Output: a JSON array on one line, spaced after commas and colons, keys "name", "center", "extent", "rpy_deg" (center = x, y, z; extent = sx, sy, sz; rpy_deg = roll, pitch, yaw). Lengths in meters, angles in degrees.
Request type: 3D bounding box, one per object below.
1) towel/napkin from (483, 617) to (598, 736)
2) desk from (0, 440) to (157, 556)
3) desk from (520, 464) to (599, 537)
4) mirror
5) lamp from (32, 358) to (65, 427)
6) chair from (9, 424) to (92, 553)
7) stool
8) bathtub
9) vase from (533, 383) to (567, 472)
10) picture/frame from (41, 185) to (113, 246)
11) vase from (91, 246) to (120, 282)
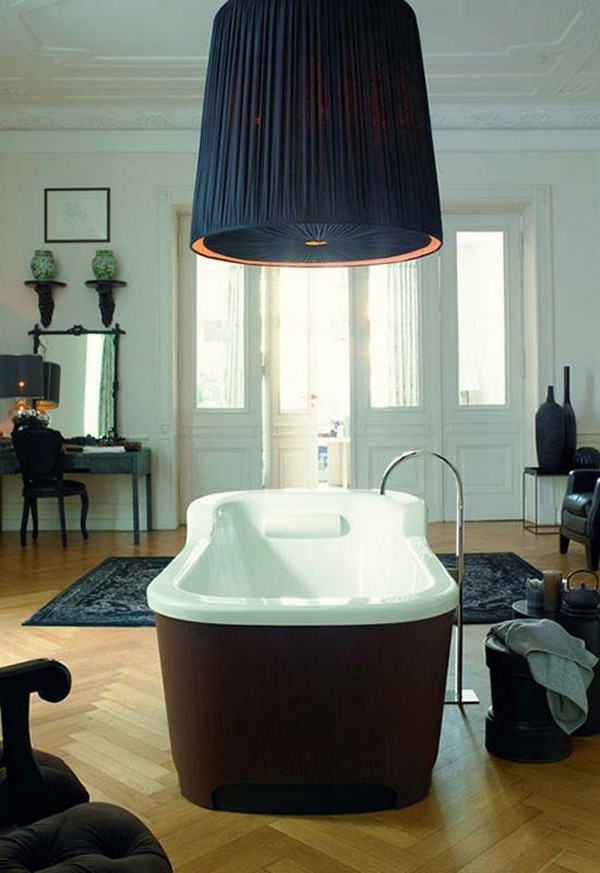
[{"name": "towel/napkin", "center": [0.685, 0.670, 2.044], "extent": [0.286, 0.265, 0.209], "rpy_deg": [0, 2, 20]}, {"name": "desk", "center": [-1.624, 0.596, 5.524], "extent": [1.263, 0.822, 0.728], "rpy_deg": [-1, -2, 2]}, {"name": "desk", "center": [2.058, 0.508, 5.782], "extent": [0.474, 0.613, 0.641], "rpy_deg": [0, 4, 4]}, {"name": "mirror", "center": [-1.775, -0.427, 5.762], "extent": [0.969, 1.174, 0.031], "rpy_deg": [-1, 0, -5]}, {"name": "lamp", "center": [-2.083, -0.353, 5.844], "extent": [0.295, 0.480, 0.291], "rpy_deg": [4, 0, -28]}, {"name": "chair", "center": [-1.850, 0.341, 5.381], "extent": [0.501, 0.906, 0.784], "rpy_deg": [-2, 2, -19]}, {"name": "stool", "center": [0.666, 0.765, 2.105], "extent": [0.244, 0.263, 0.239], "rpy_deg": [9, -12, -33]}, {"name": "bathtub", "center": [0.020, 0.426, 2.563], "extent": [0.616, 0.325, 1.001], "rpy_deg": [0, -5, 2]}, {"name": "vase", "center": [1.876, -0.050, 5.414], "extent": [0.212, 0.654, 0.457], "rpy_deg": [0, 2, 20]}, {"name": "picture/frame", "center": [-1.786, -1.802, 5.849], "extent": [0.493, 0.412, 0.019], "rpy_deg": [0, -1, -1]}, {"name": "vase", "center": [-1.553, -1.362, 5.774], "extent": [0.212, 0.278, 0.198], "rpy_deg": [-1, 2, -13]}]
